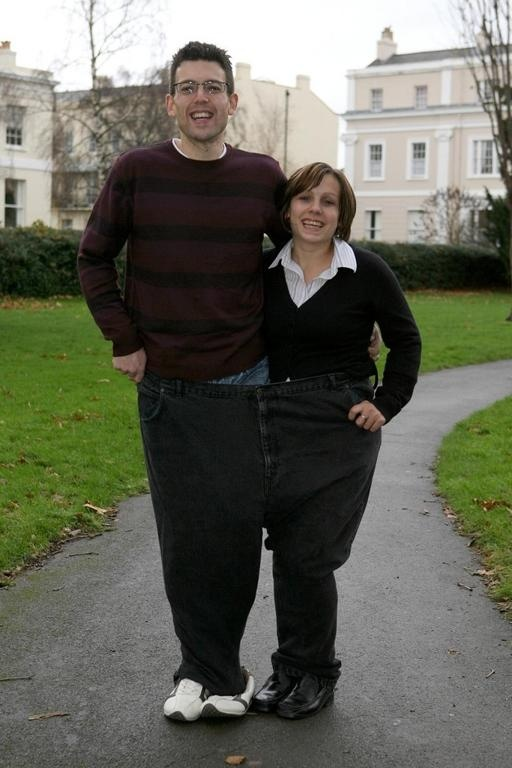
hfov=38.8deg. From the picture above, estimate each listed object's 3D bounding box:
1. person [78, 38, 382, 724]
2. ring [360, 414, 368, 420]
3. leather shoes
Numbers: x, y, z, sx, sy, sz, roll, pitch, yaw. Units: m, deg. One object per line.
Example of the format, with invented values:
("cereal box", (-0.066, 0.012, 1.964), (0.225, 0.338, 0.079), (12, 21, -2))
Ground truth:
("person", (-0.247, -0.027, 2.509), (0.663, 2.329, 0.319), (1, 3, 1))
("ring", (0.370, 0.108, 2.507), (0.020, 0.025, 0.009), (-2, 23, -22))
("leather shoes", (0.124, 1.068, 2.536), (0.134, 0.098, 0.246), (2, -5, 38))
